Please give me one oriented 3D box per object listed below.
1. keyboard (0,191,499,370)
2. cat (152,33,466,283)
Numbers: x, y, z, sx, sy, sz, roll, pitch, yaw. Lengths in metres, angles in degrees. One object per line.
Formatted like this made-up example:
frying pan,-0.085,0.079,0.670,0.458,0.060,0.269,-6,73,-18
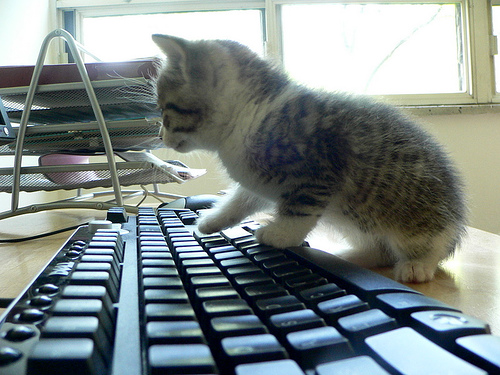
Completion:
keyboard,-0.020,0.092,0.515,0.436,0.049,0.438,3,8,-1
cat,0.086,-0.052,0.763,0.642,0.305,0.260,10,-1,-22
